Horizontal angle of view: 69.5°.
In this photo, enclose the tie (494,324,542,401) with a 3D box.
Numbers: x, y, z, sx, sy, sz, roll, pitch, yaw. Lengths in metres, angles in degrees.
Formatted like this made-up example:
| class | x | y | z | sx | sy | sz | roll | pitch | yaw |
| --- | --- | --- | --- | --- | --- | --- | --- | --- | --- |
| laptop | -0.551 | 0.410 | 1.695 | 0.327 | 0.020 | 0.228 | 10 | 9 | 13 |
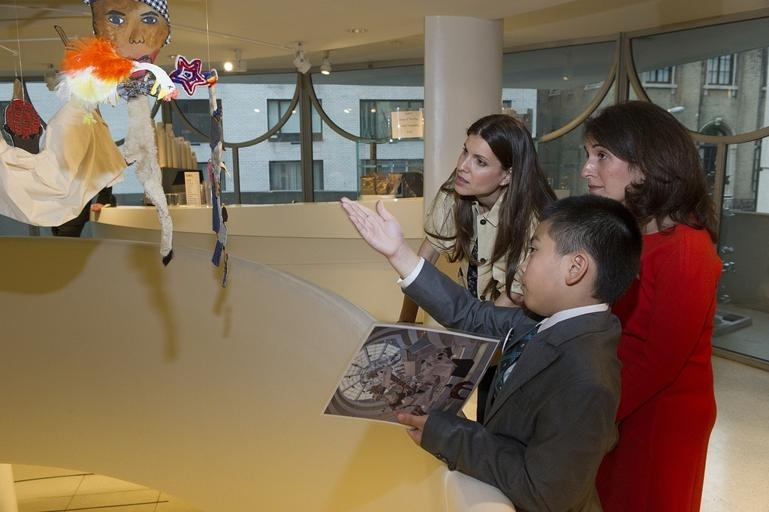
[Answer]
| class | x | y | z | sx | sy | sz | roll | pitch | yaw |
| --- | --- | --- | --- | --- | --- | --- | --- | --- | --- |
| tie | 0.383 | 0.297 | 1.678 | 0.080 | 0.214 | 0.152 | 28 | -1 | -18 |
